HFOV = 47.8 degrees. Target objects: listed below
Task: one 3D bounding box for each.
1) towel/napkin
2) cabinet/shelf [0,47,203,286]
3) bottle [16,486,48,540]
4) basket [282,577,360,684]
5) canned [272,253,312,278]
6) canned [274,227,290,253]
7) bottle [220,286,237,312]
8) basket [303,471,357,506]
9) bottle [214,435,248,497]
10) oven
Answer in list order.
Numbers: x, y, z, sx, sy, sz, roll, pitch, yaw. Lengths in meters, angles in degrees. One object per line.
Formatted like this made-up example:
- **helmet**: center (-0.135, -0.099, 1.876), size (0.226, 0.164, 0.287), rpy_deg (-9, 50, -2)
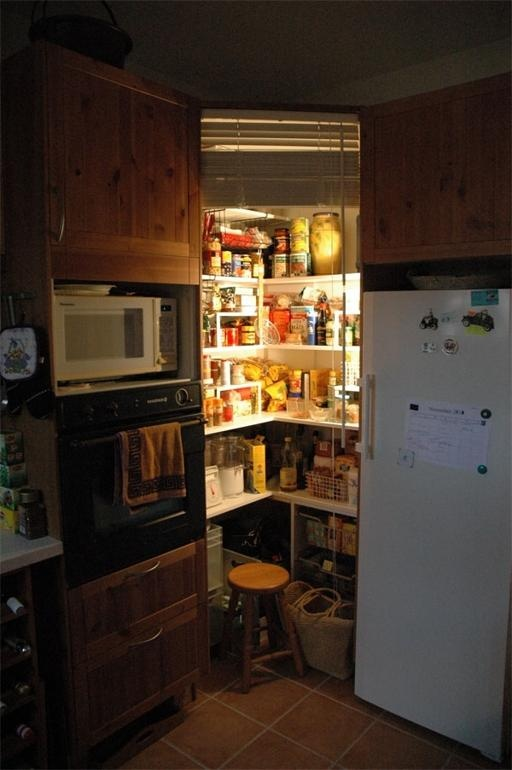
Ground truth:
- **towel/napkin**: center (-0.355, 0.261, 1.863), size (0.060, 0.295, 0.298), rpy_deg (5, 7, 33)
- **cabinet/shelf**: center (-0.442, -0.642, 1.828), size (0.262, 0.657, 0.665), rpy_deg (2, 4, 45)
- **bottle**: center (-0.665, 0.383, 1.714), size (0.067, 0.138, 0.090), rpy_deg (-3, 4, -44)
- **basket**: center (0.312, 1.075, 2.498), size (0.317, 0.271, 0.269), rpy_deg (1, 4, 35)
- **canned**: center (0.186, -0.637, 3.086), size (0.121, 0.116, 0.204), rpy_deg (-8, 13, -40)
- **canned**: center (0.138, -0.774, 3.119), size (0.111, 0.180, 0.115), rpy_deg (-1, 3, -3)
- **bottle**: center (-0.135, -0.442, 2.985), size (0.055, 0.127, 0.183), rpy_deg (0, 3, 19)
- **basket**: center (0.374, 0.486, 2.790), size (0.112, 0.158, 0.404), rpy_deg (-2, 3, -24)
- **bottle**: center (-0.114, 0.405, 2.864), size (0.113, 0.285, 0.239), rpy_deg (1, 3, 31)
- **oven**: center (-0.462, 0.291, 1.982), size (0.540, 0.575, 0.410), rpy_deg (-8, 9, -40)
